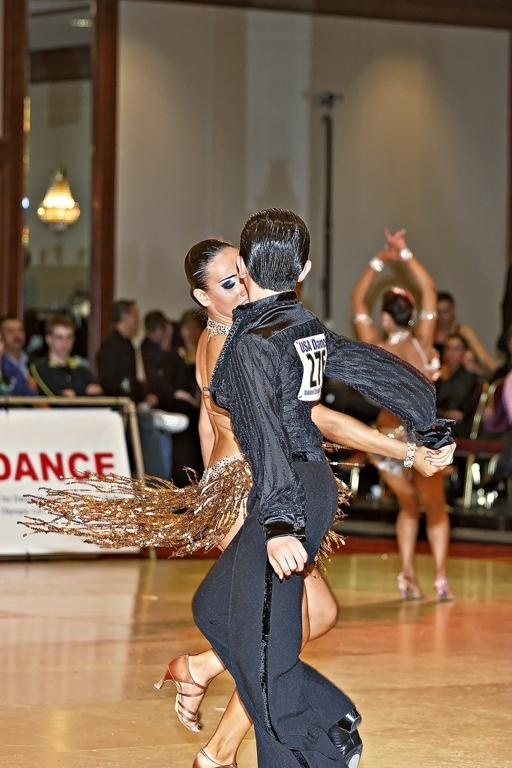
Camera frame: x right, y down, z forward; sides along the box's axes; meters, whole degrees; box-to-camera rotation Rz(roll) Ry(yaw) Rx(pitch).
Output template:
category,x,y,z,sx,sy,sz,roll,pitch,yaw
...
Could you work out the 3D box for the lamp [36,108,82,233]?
category,x,y,z,sx,sy,sz,roll,pitch,yaw
lamp,-1.956,-1.835,8.050,0.119,0.634,0.418,-2,-5,39
